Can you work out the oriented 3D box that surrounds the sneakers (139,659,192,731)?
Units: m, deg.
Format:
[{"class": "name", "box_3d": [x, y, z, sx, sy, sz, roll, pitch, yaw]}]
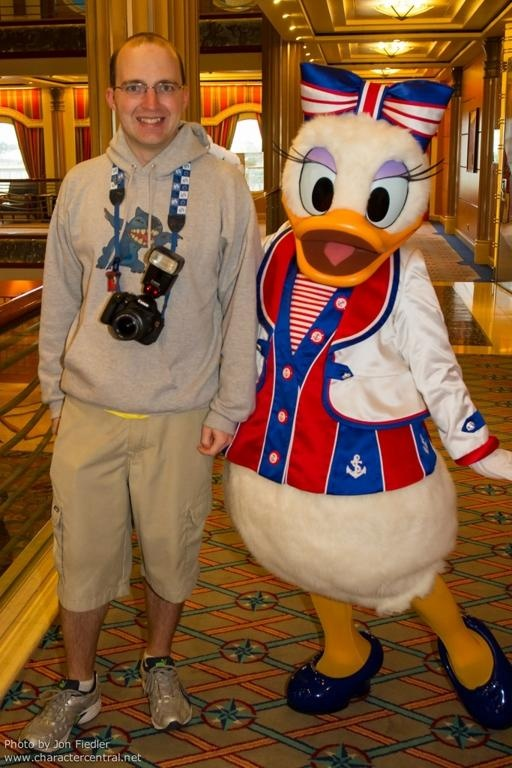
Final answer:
[{"class": "sneakers", "box_3d": [-0.208, 0.675, 1.310, 0.082, 0.081, 0.184, -7, 32, -15]}]

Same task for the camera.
[{"class": "camera", "box_3d": [-0.199, -0.156, 1.008, 0.120, 0.173, 0.094, 24, 20, -4]}]
